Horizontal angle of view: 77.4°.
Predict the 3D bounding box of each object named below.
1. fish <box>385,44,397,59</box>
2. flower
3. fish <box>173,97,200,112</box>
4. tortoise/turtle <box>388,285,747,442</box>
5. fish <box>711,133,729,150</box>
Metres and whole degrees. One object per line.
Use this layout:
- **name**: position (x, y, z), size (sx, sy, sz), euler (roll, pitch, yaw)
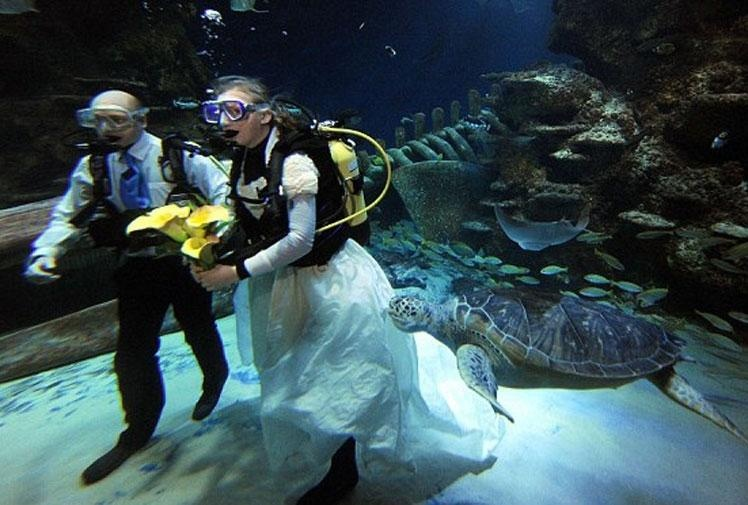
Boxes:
- **fish**: position (0.243, -2.797, 6.447), size (0.161, 0.108, 0.056), euler (45, -7, -34)
- **flower**: position (-1.426, -0.097, 3.480), size (0.600, 0.318, 0.513), euler (-12, 42, -18)
- **fish**: position (-2.101, -1.673, 5.240), size (0.178, 0.091, 0.276), euler (10, 20, -10)
- **tortoise/turtle**: position (1.590, 0.789, 4.207), size (2.315, 0.671, 1.444), euler (6, 2, -2)
- **fish**: position (3.829, -1.243, 5.181), size (0.065, 0.159, 0.088), euler (-16, 38, -36)
